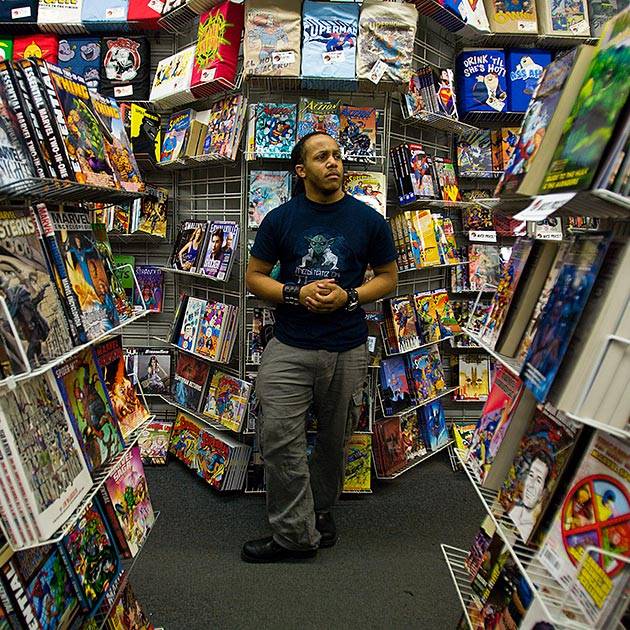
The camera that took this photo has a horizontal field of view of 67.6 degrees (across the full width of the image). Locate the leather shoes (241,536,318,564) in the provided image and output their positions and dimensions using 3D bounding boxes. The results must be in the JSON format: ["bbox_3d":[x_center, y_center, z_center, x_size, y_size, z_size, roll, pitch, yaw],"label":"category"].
[{"bbox_3d":[-0.160,1.049,2.152,0.339,0.141,0.129,5,4,-5],"label":"leather shoes"}]

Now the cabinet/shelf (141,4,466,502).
[{"bbox_3d":[0.201,-0.684,4.428,2.736,4.048,2.050,0,8,9],"label":"cabinet/shelf"}]

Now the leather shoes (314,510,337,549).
[{"bbox_3d":[0.057,1.009,2.223,0.057,0.127,0.174,-2,-3,9],"label":"leather shoes"}]
